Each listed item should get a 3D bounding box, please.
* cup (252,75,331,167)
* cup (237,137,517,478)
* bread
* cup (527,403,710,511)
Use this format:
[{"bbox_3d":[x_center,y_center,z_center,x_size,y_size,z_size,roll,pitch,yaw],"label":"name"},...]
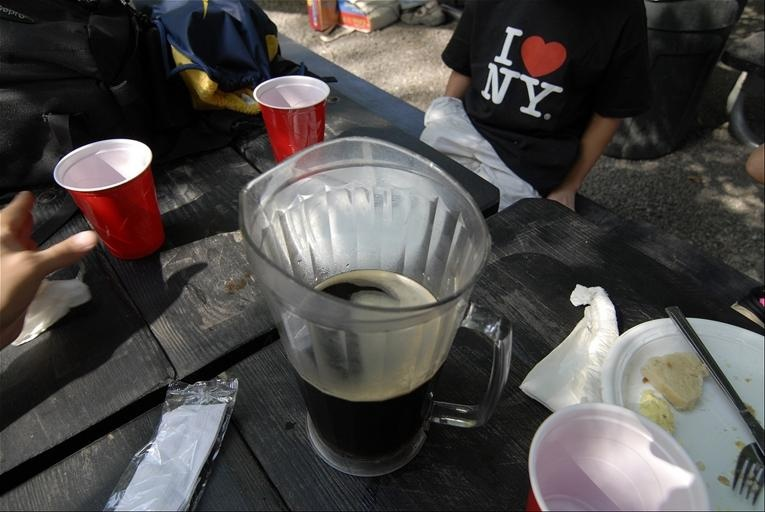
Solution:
[{"bbox_3d":[-0.170,-0.269,1.113,0.188,0.192,0.190,5,48,-6],"label":"cup"},{"bbox_3d":[0.004,0.102,0.726,0.350,0.417,0.296,9,38,9],"label":"cup"},{"bbox_3d":[0.447,0.177,0.769,0.084,0.023,0.094,-24,26,-7],"label":"bread"},{"bbox_3d":[0.282,0.257,0.652,0.155,0.107,0.151,0,68,0],"label":"cup"}]
